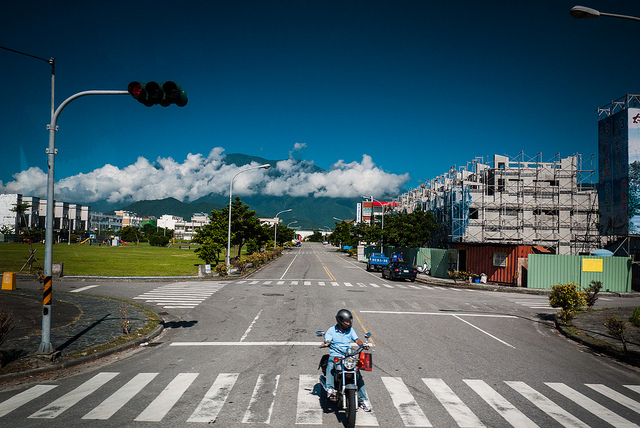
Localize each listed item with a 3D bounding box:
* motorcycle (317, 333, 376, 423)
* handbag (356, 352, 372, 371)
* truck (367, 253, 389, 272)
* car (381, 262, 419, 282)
[{"bbox_3d":[1.103,6.525,22.129,1.885,3.442,1.653,0,-5,-4],"label":"motorcycle"},{"bbox_3d":[1.708,5.833,21.836,0.568,0.659,0.273,-1,-6,10],"label":"handbag"},{"bbox_3d":[6.304,5.471,60.921,1.416,1.452,2.442,0,1,2],"label":"truck"},{"bbox_3d":[7.211,5.312,50.761,1.873,1.819,3.051,3,-7,-30],"label":"car"}]
